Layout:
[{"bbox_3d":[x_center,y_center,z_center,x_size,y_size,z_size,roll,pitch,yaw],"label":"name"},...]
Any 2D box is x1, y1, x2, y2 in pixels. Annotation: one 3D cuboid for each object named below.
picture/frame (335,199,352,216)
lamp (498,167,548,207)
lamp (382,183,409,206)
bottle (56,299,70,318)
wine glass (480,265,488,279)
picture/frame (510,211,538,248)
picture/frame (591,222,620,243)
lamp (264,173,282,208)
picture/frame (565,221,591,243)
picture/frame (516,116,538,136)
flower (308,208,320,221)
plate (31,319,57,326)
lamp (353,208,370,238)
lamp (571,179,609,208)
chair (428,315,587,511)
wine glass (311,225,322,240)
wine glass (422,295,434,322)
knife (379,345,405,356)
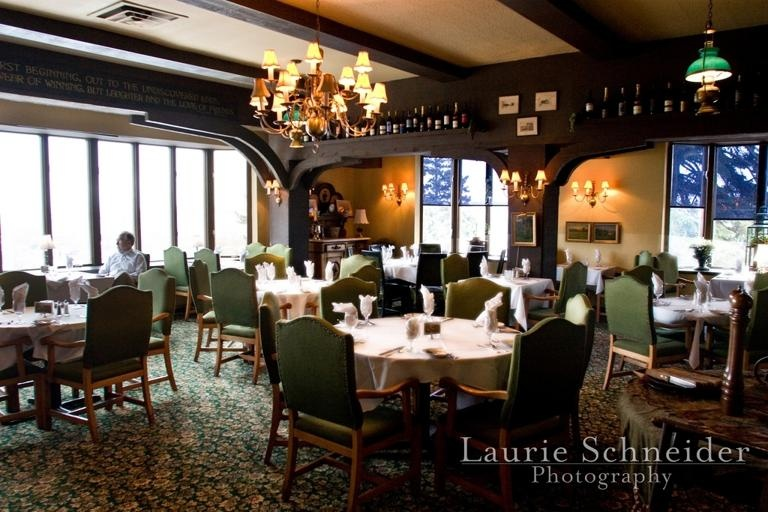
[{"bbox_3d":[-1.011,-1.145,13.156,0.151,0.367,0.491,-18,-7,38],"label":"picture/frame"},{"bbox_3d":[2.183,-1.082,8.564,0.724,0.561,0.527,0,4,25],"label":"lamp"},{"bbox_3d":[0.277,-1.483,13.117,0.640,0.557,0.165,1,5,35],"label":"lamp"},{"bbox_3d":[-3.346,0.551,5.724,0.154,0.141,0.075,-1,11,-16],"label":"bottle"},{"bbox_3d":[1.439,0.228,7.932,0.164,0.186,0.075,-2,-7,-6],"label":"wine glass"},{"bbox_3d":[2.205,-0.420,8.635,0.665,0.698,0.083,2,6,31],"label":"picture/frame"},{"bbox_3d":[4.226,-0.450,10.471,0.465,0.342,0.051,3,2,39],"label":"picture/frame"},{"bbox_3d":[-2.170,-1.254,10.656,0.404,0.520,0.247,1,5,34],"label":"lamp"},{"bbox_3d":[3.806,-0.473,10.769,0.496,0.390,0.036,5,7,42],"label":"picture/frame"},{"bbox_3d":[2.176,-1.982,8.360,0.388,0.283,0.039,2,2,35],"label":"picture/frame"},{"bbox_3d":[-1.563,-0.921,12.190,0.202,0.243,0.093,23,32,34],"label":"flower"},{"bbox_3d":[-3.254,0.634,5.274,0.172,0.041,0.223,-3,3,-31],"label":"plate"},{"bbox_3d":[-0.570,-0.829,13.474,0.358,0.697,0.654,-2,3,-3],"label":"lamp"},{"bbox_3d":[3.931,-1.192,10.550,0.698,0.532,0.182,1,5,31],"label":"lamp"},{"bbox_3d":[0.982,1.183,4.328,1.202,1.440,0.561,-1,4,11],"label":"chair"},{"bbox_3d":[-1.508,-0.538,12.203,0.244,0.334,0.547,-2,3,-7],"label":"wine glass"},{"bbox_3d":[0.412,0.476,5.175,0.081,0.251,0.191,-2,4,-1],"label":"wine glass"},{"bbox_3d":[0.058,0.781,4.503,0.271,0.021,0.057,-13,37,-30],"label":"knife"}]
